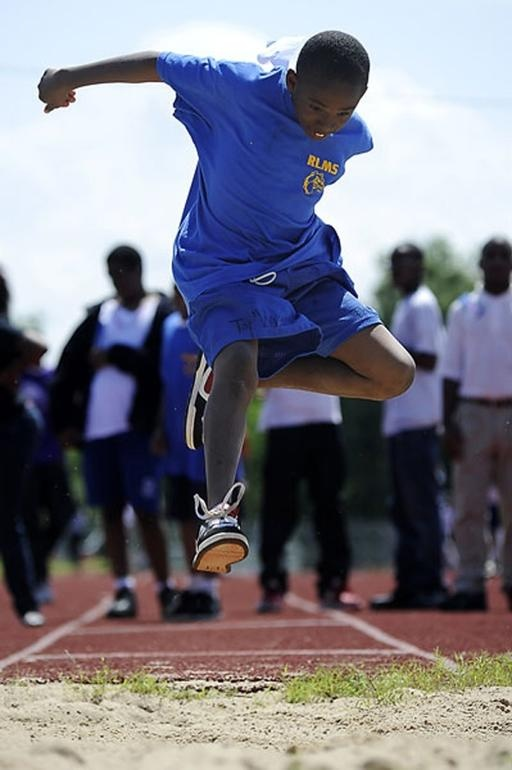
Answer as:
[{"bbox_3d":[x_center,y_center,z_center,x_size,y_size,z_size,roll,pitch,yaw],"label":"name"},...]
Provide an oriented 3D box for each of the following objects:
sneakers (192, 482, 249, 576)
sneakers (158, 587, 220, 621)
[{"bbox_3d":[-0.121,0.379,2.509,0.135,0.158,0.262,4,-24,-11],"label":"sneakers"},{"bbox_3d":[-0.307,1.000,4.551,0.188,0.137,0.349,-6,-8,13],"label":"sneakers"}]
